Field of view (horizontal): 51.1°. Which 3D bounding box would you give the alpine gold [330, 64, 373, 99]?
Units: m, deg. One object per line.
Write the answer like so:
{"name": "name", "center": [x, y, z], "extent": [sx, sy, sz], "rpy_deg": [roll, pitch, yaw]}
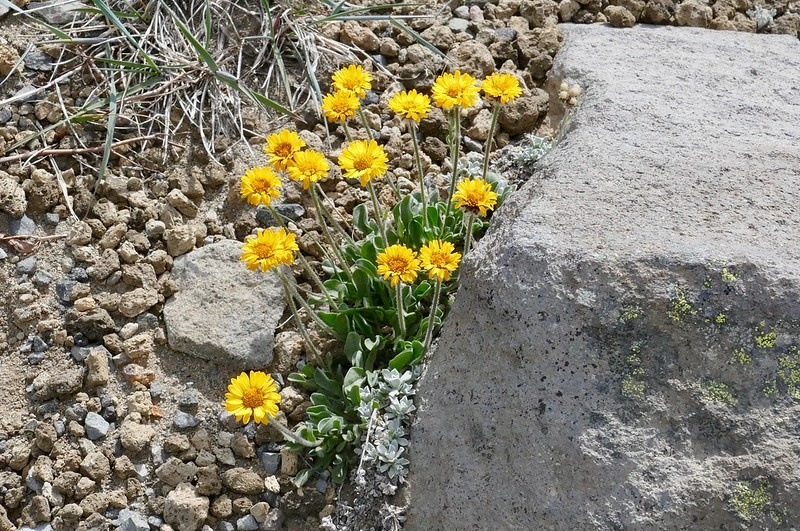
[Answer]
{"name": "alpine gold", "center": [-0.284, -1.154, 5.162], "extent": [0.226, 0.228, 0.096], "rpy_deg": [20, 84, -33]}
